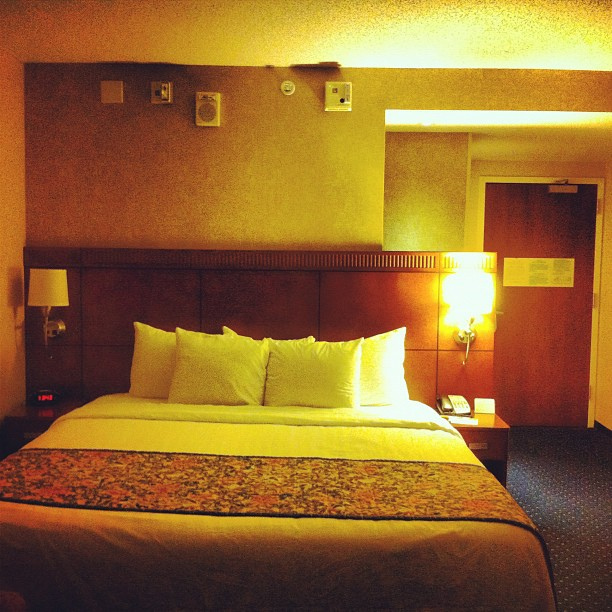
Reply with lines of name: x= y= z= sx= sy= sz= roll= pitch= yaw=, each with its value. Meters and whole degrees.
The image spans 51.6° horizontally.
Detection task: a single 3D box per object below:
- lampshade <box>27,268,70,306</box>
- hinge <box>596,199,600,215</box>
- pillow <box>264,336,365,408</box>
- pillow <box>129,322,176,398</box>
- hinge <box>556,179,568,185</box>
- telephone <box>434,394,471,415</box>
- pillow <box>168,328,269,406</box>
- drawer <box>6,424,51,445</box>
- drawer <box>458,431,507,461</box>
lampshade: x=-1.523 y=-0.109 z=3.750 sx=0.207 sy=0.244 sz=0.213 roll=-1 pitch=-1 yaw=41
hinge: x=2.293 y=-0.784 z=4.988 sx=0.032 sy=0.116 sz=0.013 roll=6 pitch=13 yaw=20
pillow: x=0.023 y=0.384 z=3.563 sx=0.537 sy=0.462 sz=0.201 roll=-1 pitch=-16 yaw=15
pillow: x=-0.835 y=0.337 z=3.688 sx=0.396 sy=0.433 sz=0.151 roll=6 pitch=1 yaw=8
hinge: x=2.035 y=-0.983 z=5.014 sx=0.053 sy=0.031 sz=0.035 roll=-10 pitch=25 yaw=-17
telephone: x=0.882 y=0.593 z=3.787 sx=0.117 sy=0.055 sz=0.132 roll=0 pitch=20 yaw=9
pillow: x=-0.495 y=0.302 z=3.517 sx=0.502 sy=0.524 sz=0.150 roll=-5 pitch=11 yaw=-4
drawer: x=-1.514 y=0.699 z=3.485 sx=0.127 sy=0.131 sz=0.072 roll=5 pitch=25 yaw=-6
drawer: x=1.007 y=0.781 z=3.614 sx=0.241 sy=0.250 sz=0.176 roll=0 pitch=4 yaw=3
